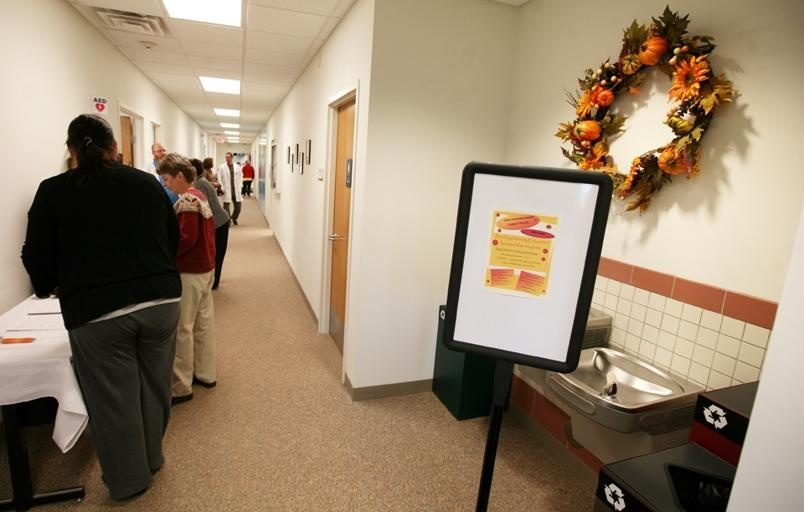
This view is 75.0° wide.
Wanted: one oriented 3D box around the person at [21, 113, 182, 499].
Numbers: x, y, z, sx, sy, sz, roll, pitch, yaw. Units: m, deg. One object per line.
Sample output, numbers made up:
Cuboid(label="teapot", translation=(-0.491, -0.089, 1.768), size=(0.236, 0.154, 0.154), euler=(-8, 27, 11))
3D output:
Cuboid(label="person", translation=(-1.965, 0.335, 3.512), size=(0.815, 2.367, 0.831), euler=(4, 9, 33))

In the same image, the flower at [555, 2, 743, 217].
Cuboid(label="flower", translation=(1.613, -0.962, 3.535), size=(0.246, 1.322, 1.048), euler=(-6, 14, -38))
